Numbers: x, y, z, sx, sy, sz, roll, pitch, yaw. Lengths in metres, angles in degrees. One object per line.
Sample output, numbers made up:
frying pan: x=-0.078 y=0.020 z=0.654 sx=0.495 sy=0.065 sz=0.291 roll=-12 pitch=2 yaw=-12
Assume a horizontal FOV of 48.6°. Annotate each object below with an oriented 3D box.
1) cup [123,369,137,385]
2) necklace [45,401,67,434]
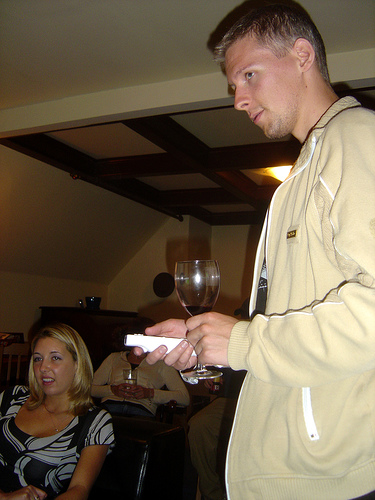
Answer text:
cup: x=-0.424 y=0.938 z=3.054 sx=0.109 sy=0.114 sz=0.104 roll=0 pitch=-23 yaw=0
necklace: x=-0.589 y=0.756 z=1.857 sx=0.122 sy=0.096 sz=0.003 roll=8 pitch=-43 yaw=-9
